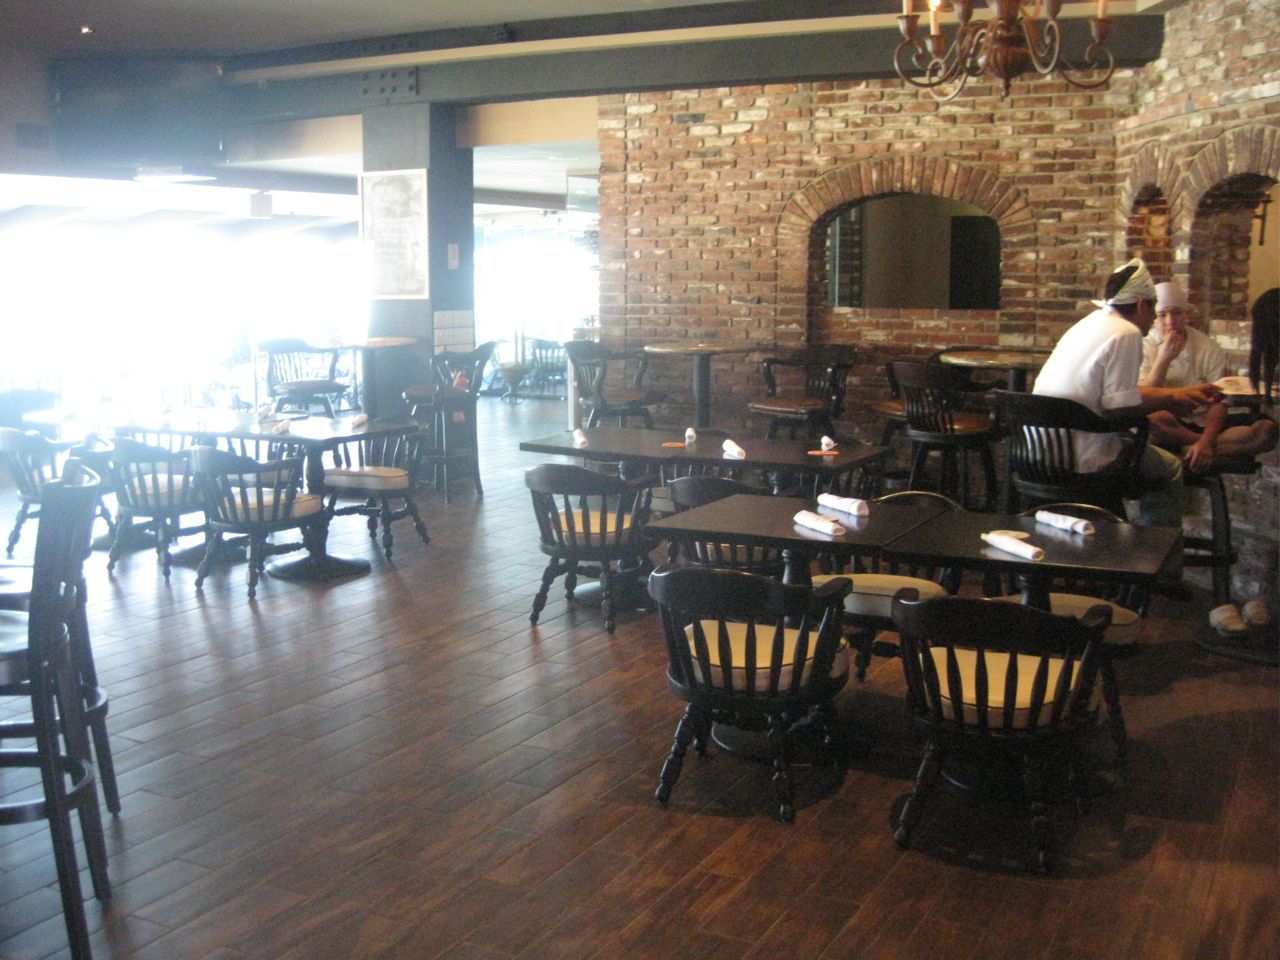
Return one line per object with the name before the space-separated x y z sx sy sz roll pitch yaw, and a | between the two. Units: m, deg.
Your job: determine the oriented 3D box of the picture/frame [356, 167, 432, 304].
picture/frame | -2.152 -2.148 8.726 0.765 1.106 0.208 5 16 23
